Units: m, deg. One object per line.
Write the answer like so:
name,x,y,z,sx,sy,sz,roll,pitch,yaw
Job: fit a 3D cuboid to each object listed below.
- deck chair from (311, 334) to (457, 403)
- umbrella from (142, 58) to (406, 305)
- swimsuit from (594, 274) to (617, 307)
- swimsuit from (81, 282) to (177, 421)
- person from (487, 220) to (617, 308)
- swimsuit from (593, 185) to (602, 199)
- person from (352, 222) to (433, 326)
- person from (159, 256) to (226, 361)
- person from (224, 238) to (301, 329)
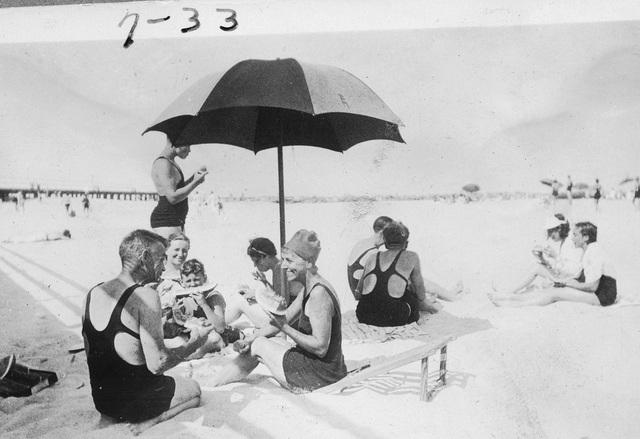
deck chair,0.681,1.384,7.005,1.248,0.373,0.513,-25,-6,-6
umbrella,-0.493,-0.767,8.231,2.288,3.051,2.820,4,39,7
swimsuit,2.788,0.686,7.159,0.209,0.233,0.041,3,-1,-8
swimsuit,-1.782,1.243,6.887,0.803,1.309,0.249,2,-1,10
person,2.258,0.395,7.449,1.147,0.994,0.720,-6,4,4
swimsuit,2.698,-0.245,7.144,0.062,0.174,0.087,8,6,18
person,0.767,0.567,7.370,0.675,1.103,0.835,2,0,20
person,-1.199,0.866,7.264,0.716,1.134,0.752,-2,1,7
person,-0.583,0.644,7.225,0.952,0.995,0.458,9,7,32
